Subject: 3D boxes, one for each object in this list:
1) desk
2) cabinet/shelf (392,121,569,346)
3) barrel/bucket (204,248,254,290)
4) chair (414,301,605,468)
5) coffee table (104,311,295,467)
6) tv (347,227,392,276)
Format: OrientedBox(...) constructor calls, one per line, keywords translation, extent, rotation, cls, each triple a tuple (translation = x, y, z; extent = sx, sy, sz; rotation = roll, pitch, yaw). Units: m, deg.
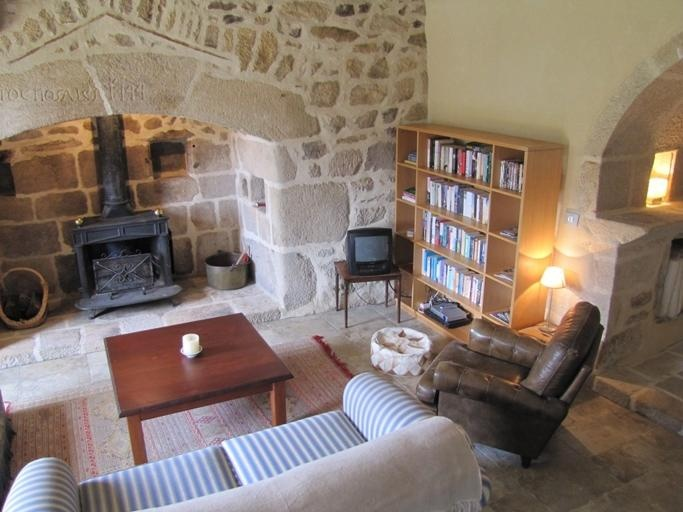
OrientedBox(translation=(0.327, 0.382, 5.153), extent=(0.758, 0.631, 0.687), rotation=(-8, 28, -15), cls="desk")
OrientedBox(translation=(1.245, -0.208, 4.339), extent=(0.508, 1.881, 1.826), rotation=(-9, 23, -27), cls="cabinet/shelf")
OrientedBox(translation=(-1.271, 0.162, 5.603), extent=(0.470, 0.355, 0.476), rotation=(-2, 14, 0), cls="barrel/bucket")
OrientedBox(translation=(1.164, 0.822, 3.501), extent=(1.185, 0.930, 0.883), rotation=(8, 23, 34), cls="chair")
OrientedBox(translation=(-1.104, 0.732, 3.533), extent=(1.087, 0.581, 0.979), rotation=(-15, 32, -27), cls="coffee table")
OrientedBox(translation=(0.240, -0.033, 5.016), extent=(0.516, 0.453, 0.465), rotation=(-1, -6, -9), cls="tv")
